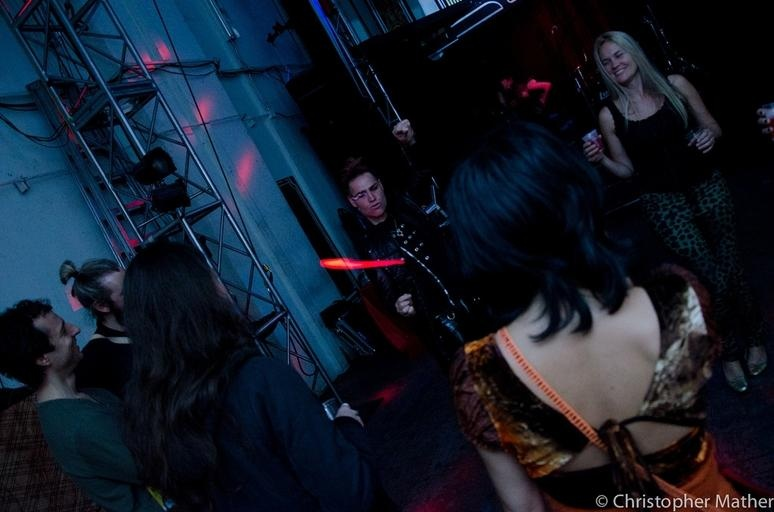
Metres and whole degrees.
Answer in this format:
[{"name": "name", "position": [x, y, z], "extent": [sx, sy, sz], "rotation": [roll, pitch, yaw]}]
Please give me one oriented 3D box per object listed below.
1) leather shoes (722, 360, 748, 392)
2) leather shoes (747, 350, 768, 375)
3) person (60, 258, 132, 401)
[{"name": "leather shoes", "position": [2.751, 0.936, 4.531], "extent": [0.117, 0.325, 0.126], "rotation": [-21, -10, 27]}, {"name": "leather shoes", "position": [2.925, 0.820, 4.489], "extent": [0.117, 0.224, 0.098], "rotation": [3, 9, 17]}, {"name": "person", "position": [-2.330, 0.598, 4.577], "extent": [0.414, 0.752, 0.823], "rotation": [-15, 21, -13]}]
